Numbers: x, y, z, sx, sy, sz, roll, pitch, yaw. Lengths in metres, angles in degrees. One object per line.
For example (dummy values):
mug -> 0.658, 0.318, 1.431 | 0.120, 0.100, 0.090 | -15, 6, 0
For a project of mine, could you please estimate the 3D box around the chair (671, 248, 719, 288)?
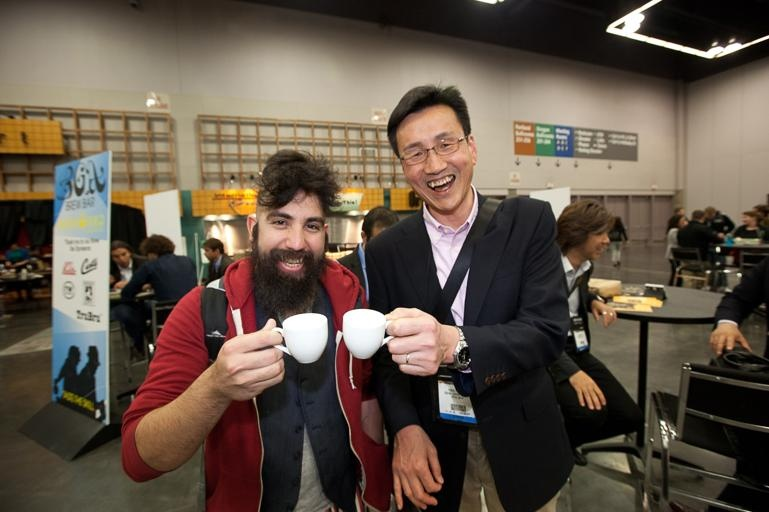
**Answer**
chair -> 5.585, 0.234, 8.664 | 0.648, 0.952, 0.494 | -10, 14, -30

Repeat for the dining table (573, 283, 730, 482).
dining table -> 3.333, 1.376, 5.625 | 1.736, 2.125, 1.791 | -2, 2, -13
